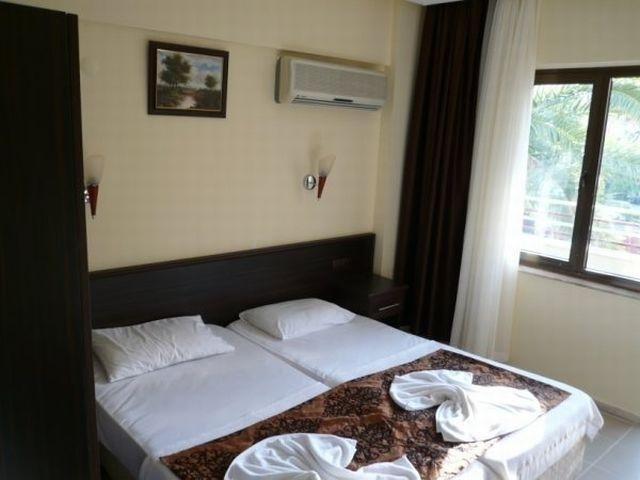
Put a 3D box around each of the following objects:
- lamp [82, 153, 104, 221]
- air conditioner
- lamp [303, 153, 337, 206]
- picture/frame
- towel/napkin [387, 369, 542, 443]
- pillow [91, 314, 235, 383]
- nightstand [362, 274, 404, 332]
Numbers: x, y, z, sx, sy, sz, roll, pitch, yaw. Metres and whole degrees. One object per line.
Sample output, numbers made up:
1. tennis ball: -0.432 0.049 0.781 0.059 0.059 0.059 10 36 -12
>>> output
1. lamp: -1.322 -0.304 2.721 0.109 0.373 0.171 -4 15 -26
2. air conditioner: 0.100 -1.225 3.619 0.970 0.363 0.198 -7 17 -37
3. lamp: 0.034 -0.496 3.733 0.195 0.366 0.312 15 18 43
4. picture/frame: -0.866 -1.037 2.963 0.509 0.435 0.036 -5 14 -38
5. towel/napkin: 0.740 0.854 2.430 0.372 0.068 0.395 -8 12 -33
6. pillow: -0.975 0.614 2.823 0.742 0.177 0.408 -8 18 -39
7. nightstand: 0.525 0.576 3.894 0.354 0.383 0.362 -13 26 -34
